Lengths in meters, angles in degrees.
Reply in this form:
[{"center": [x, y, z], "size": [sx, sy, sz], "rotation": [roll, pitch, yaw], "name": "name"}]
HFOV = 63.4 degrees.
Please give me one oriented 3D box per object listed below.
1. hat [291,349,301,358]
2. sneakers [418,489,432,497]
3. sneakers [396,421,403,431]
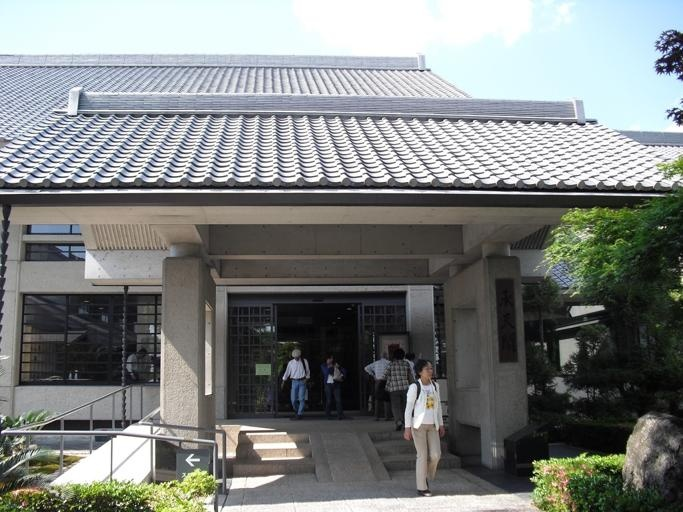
[{"center": [-1.249, 2.751, 15.534], "size": [0.280, 0.359, 0.352], "rotation": [1, -7, -7], "name": "hat"}, {"center": [1.394, 3.954, 9.207], "size": [0.238, 0.084, 0.238], "rotation": [-2, -4, -2], "name": "sneakers"}, {"center": [1.387, 4.053, 13.096], "size": [0.189, 0.191, 0.140], "rotation": [-8, -12, 41], "name": "sneakers"}]
